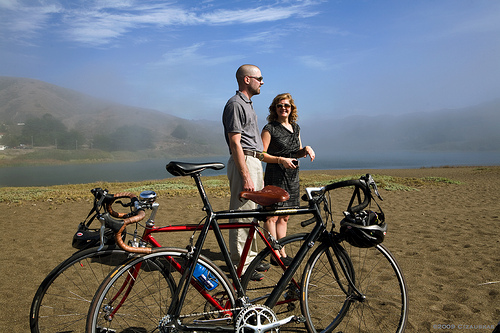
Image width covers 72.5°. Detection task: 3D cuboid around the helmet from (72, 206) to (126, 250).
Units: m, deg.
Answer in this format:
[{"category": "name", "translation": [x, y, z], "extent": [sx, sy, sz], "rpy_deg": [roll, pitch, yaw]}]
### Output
[{"category": "helmet", "translation": [-1.972, 0.793, 4.525], "extent": [0.659, 0.470, 0.446], "rpy_deg": [1, -5, -14]}]

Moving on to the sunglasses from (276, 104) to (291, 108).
[{"category": "sunglasses", "translation": [0.607, -1.098, 6.144], "extent": [0.250, 0.063, 0.078], "rpy_deg": [-3, 6, -20]}]

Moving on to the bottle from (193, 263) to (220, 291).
[{"category": "bottle", "translation": [-0.612, 1.513, 4.645], "extent": [0.373, 0.163, 0.692], "rpy_deg": [41, -9, -2]}]

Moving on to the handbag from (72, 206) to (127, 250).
[{"category": "handbag", "translation": [-2.011, 0.815, 4.505], "extent": [0.563, 0.409, 0.405], "rpy_deg": [2, -3, -32]}]
